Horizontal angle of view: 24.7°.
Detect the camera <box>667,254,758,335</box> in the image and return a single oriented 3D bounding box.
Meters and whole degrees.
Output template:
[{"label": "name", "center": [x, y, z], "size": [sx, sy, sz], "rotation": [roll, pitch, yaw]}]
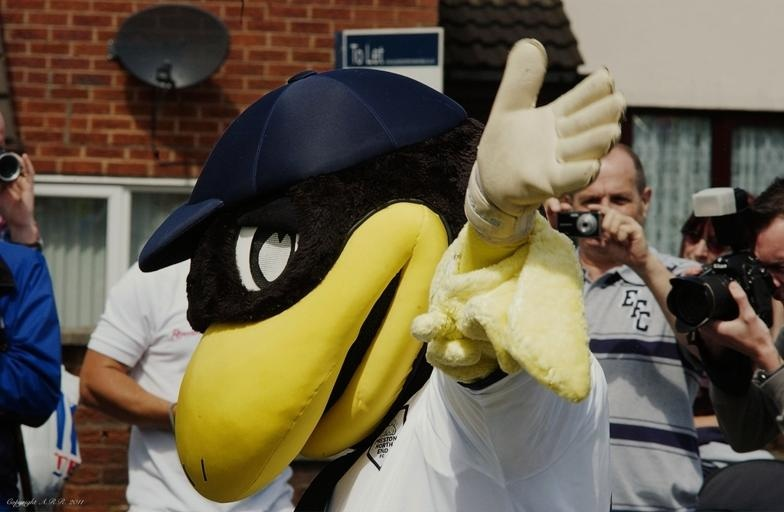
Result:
[{"label": "camera", "center": [1.671, 0.185, 9.103], "size": [0.500, 0.330, 0.578], "rotation": [0, 6, 38]}]
